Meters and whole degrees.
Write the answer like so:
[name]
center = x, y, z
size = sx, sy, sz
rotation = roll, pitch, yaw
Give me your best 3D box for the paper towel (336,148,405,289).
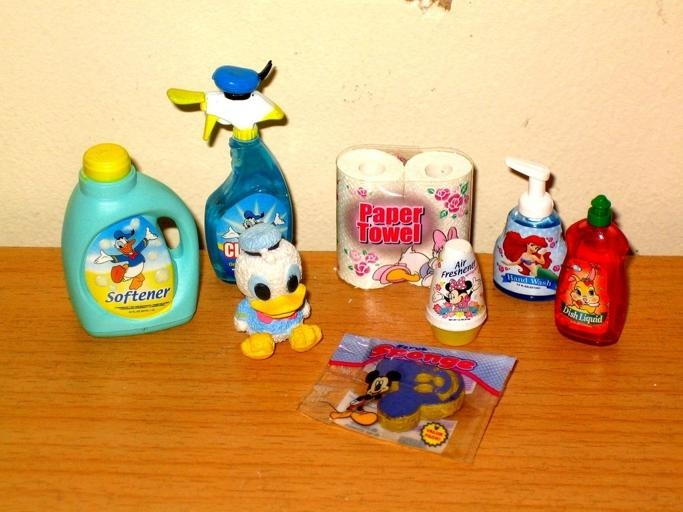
[paper towel]
center = 0.044, -0.059, 0.953
size = 0.132, 0.210, 0.123
rotation = 3, 36, 2
